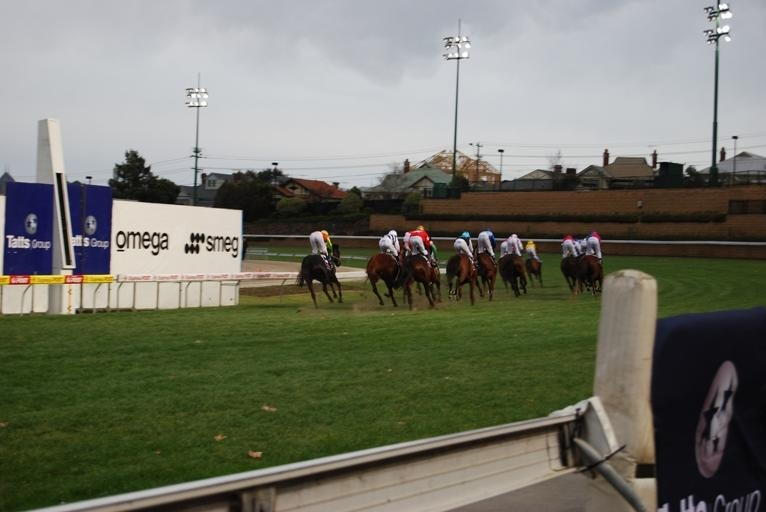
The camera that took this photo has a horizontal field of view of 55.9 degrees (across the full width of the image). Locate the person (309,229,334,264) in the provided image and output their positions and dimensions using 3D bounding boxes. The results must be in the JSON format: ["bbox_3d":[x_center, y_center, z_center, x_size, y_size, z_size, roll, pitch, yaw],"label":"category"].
[{"bbox_3d":[-1.331,-0.211,16.891,0.280,0.524,1.029,-13,-17,24],"label":"person"}]

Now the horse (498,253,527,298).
[{"bbox_3d":[3.478,0.517,19.464,0.791,1.119,1.998,3,8,11],"label":"horse"}]

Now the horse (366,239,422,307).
[{"bbox_3d":[0.150,0.473,16.884,0.544,1.283,1.976,-2,-2,27],"label":"horse"}]

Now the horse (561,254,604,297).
[{"bbox_3d":[5.286,0.493,19.281,0.945,1.155,1.792,2,7,6],"label":"horse"}]

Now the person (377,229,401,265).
[{"bbox_3d":[0.228,-0.223,16.869,0.342,0.668,0.976,-1,-9,28],"label":"person"}]

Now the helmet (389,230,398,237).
[{"bbox_3d":[0.225,-0.512,16.690,0.210,0.090,0.290,3,0,6],"label":"helmet"}]

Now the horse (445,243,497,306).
[{"bbox_3d":[2.098,0.398,17.465,1.140,1.676,2.398,2,8,8],"label":"horse"}]

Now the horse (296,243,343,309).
[{"bbox_3d":[-1.460,0.493,16.579,0.408,1.218,1.785,-25,-10,24],"label":"horse"}]

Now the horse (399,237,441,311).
[{"bbox_3d":[0.771,0.398,16.808,0.590,1.389,2.515,-9,3,12],"label":"horse"}]
